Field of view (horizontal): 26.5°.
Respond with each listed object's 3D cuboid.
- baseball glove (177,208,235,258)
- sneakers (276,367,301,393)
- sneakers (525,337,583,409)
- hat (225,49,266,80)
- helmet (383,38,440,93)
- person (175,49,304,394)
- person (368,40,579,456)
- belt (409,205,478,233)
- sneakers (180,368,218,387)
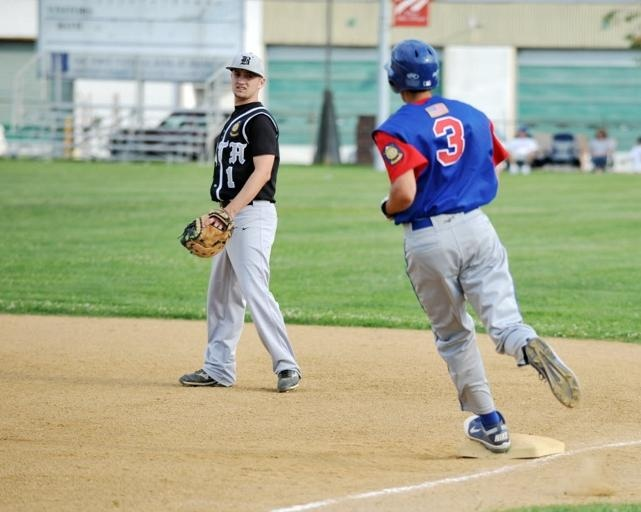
[{"bbox_3d":[-0.800,-0.143,9.583,0.176,0.295,0.371,39,62,20],"label":"baseball glove"},{"bbox_3d":[-0.234,0.909,9.821,0.102,0.095,0.213,-18,1,7],"label":"sneakers"},{"bbox_3d":[1.467,0.730,8.548,0.249,0.506,0.139,-35,-9,-23],"label":"sneakers"},{"bbox_3d":[-0.513,-1.375,9.787,0.165,0.137,0.234,15,8,12],"label":"hat"},{"bbox_3d":[0.609,-1.241,8.867,0.272,0.290,0.377,-12,23,-27],"label":"helmet"},{"bbox_3d":[-0.545,-0.223,9.781,0.829,2.412,0.693,8,14,29],"label":"person"},{"bbox_3d":[0.927,-0.027,8.739,1.193,2.611,0.643,3,13,10],"label":"person"},{"bbox_3d":[0.789,-0.232,8.718,0.468,0.152,0.114,1,13,2],"label":"belt"},{"bbox_3d":[-0.894,0.905,10.011,0.300,0.138,0.116,9,-3,-2],"label":"sneakers"}]
